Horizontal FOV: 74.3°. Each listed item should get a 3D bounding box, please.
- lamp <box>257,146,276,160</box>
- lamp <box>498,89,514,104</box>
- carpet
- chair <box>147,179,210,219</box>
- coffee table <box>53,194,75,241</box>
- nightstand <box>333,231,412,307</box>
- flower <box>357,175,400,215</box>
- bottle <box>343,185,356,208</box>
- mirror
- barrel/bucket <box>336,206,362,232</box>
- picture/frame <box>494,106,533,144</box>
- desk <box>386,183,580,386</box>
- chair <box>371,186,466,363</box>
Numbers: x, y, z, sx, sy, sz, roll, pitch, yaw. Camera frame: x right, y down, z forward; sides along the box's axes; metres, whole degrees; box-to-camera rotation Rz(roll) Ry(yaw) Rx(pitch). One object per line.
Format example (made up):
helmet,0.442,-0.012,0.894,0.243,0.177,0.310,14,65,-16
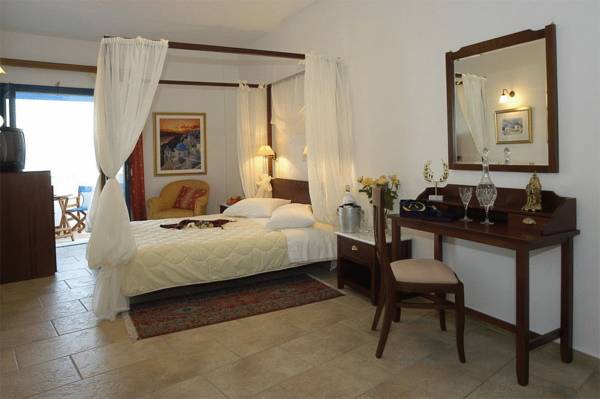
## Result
lamp,-0.567,-0.806,6.870,0.249,0.206,0.249,1,1,36
lamp,2.012,-0.999,3.853,0.142,0.103,0.088,-9,4,-14
carpet,-0.821,1.239,4.689,2.231,0.143,0.842,-3,7,-21
chair,-2.324,0.010,7.675,0.892,0.979,0.913,-1,-4,-2
coffee table,-4.522,0.307,7.618,0.453,0.713,0.444,-1,2,-31
nightstand,0.899,0.802,4.901,0.586,0.743,0.768,-6,8,-30
flower,0.883,-0.118,4.996,0.387,0.327,0.330,-5,6,-18
bottle,0.642,-0.062,5.138,0.161,0.233,0.432,0,7,7
mirror,1.992,-0.949,3.951,0.117,1.328,1.106,-8,11,-43
barrel/bucket,0.622,0.261,5.075,0.357,0.310,0.304,1,-1,3
picture/frame,2.081,-0.721,3.830,0.032,0.401,0.381,-12,12,-40
desk,1.784,0.687,4.152,0.783,1.587,1.790,-3,5,-21
chair,1.141,0.735,3.931,0.953,1.447,0.869,0,2,-5
